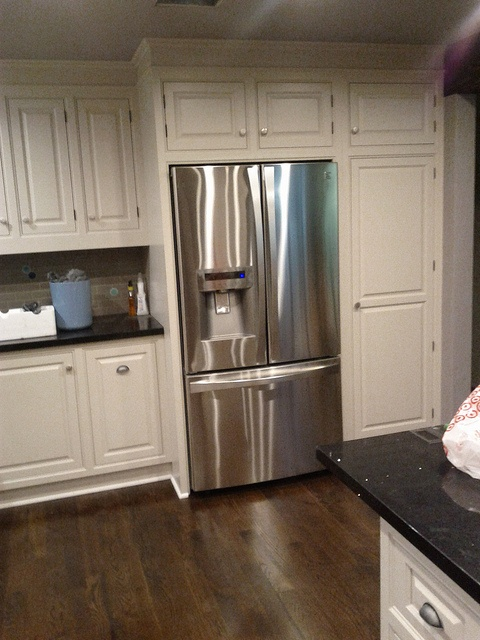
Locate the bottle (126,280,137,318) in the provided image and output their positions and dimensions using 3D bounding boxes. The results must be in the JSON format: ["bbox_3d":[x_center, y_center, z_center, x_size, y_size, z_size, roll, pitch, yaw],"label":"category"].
[{"bbox_3d":[-0.680,-0.136,3.110,0.046,0.219,0.169,-4,7,-13],"label":"bottle"}]

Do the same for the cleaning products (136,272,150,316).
[{"bbox_3d":[-0.614,-0.162,3.097,0.071,0.257,0.166,-3,7,-11],"label":"cleaning products"}]

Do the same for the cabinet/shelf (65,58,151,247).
[{"bbox_3d":[-0.736,-0.886,2.712,0.332,1.050,0.098,-4,-14,-12],"label":"cabinet/shelf"}]

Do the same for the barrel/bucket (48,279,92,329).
[{"bbox_3d":[-0.903,-0.103,2.715,0.219,0.294,0.232,-3,6,0],"label":"barrel/bucket"}]
